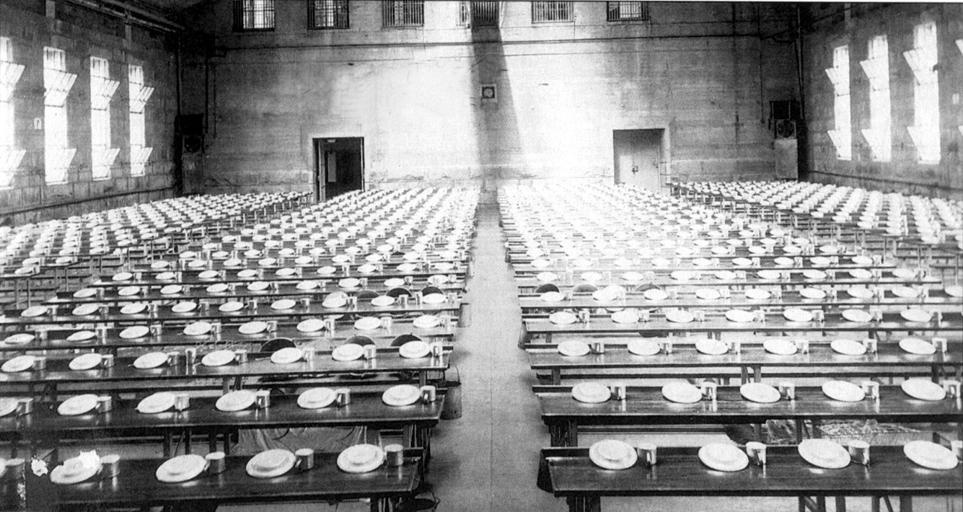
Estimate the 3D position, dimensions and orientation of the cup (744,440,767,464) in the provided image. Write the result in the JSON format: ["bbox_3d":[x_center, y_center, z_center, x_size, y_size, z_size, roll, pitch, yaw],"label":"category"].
[{"bbox_3d":[3.834,2.752,12.339,0.274,0.213,0.325,3,9,25],"label":"cup"}]

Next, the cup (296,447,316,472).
[{"bbox_3d":[-2.474,2.850,12.244,0.243,0.192,0.312,3,11,4],"label":"cup"}]

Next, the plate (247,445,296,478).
[{"bbox_3d":[-2.952,2.903,12.252,0.695,0.325,0.268,-3,7,-13],"label":"plate"}]

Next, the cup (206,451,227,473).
[{"bbox_3d":[-3.711,2.882,12.255,0.265,0.265,0.181,-4,7,-19],"label":"cup"}]

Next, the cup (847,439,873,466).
[{"bbox_3d":[5.271,2.746,12.301,0.322,0.315,0.248,0,7,13],"label":"cup"}]

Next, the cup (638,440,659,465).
[{"bbox_3d":[2.310,2.769,12.253,0.330,0.260,0.273,3,-5,-32],"label":"cup"}]

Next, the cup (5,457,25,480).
[{"bbox_3d":[-6.551,3.003,12.371,0.306,0.233,0.189,-1,7,3],"label":"cup"}]

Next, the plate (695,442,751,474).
[{"bbox_3d":[3.363,2.819,12.291,0.705,0.335,0.290,-1,7,5],"label":"plate"}]
